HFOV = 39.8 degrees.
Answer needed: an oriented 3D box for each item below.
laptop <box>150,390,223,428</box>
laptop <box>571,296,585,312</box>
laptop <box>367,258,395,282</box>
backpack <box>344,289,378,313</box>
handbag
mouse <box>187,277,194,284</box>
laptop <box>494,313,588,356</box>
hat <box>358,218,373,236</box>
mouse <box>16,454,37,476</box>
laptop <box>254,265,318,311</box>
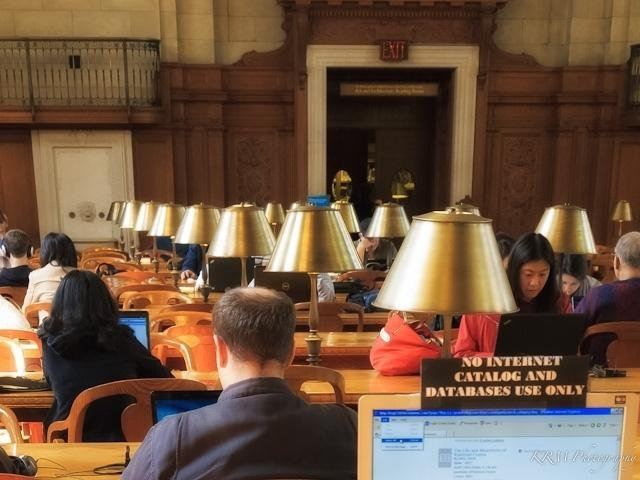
[{"bbox_3d":[-0.894,1.211,5.928,0.496,0.299,0.358,0,-26,-21],"label":"laptop"},{"bbox_3d":[2.368,0.584,8.054,0.209,0.148,0.049,-3,0,-41],"label":"laptop"},{"bbox_3d":[0.668,0.309,9.683,0.150,0.187,0.419,2,5,-3],"label":"laptop"},{"bbox_3d":[0.449,0.577,8.693,0.227,0.091,0.232,-13,5,22],"label":"backpack"},{"bbox_3d":[0.657,0.801,6.912,0.562,0.394,0.531,-11,6,11],"label":"handbag"},{"bbox_3d":[-1.446,0.454,9.815,0.064,0.047,0.064,3,1,0],"label":"mouse"},{"bbox_3d":[1.593,0.693,6.282,0.495,0.367,0.351,2,-9,4],"label":"laptop"},{"bbox_3d":[0.540,-0.163,10.587,0.172,0.221,0.236,0,1,-2],"label":"hat"},{"bbox_3d":[-1.913,1.469,5.756,0.131,0.116,0.120,25,38,-22],"label":"mouse"},{"bbox_3d":[-0.333,0.402,8.078,0.593,0.419,0.320,3,-2,-5],"label":"laptop"}]
